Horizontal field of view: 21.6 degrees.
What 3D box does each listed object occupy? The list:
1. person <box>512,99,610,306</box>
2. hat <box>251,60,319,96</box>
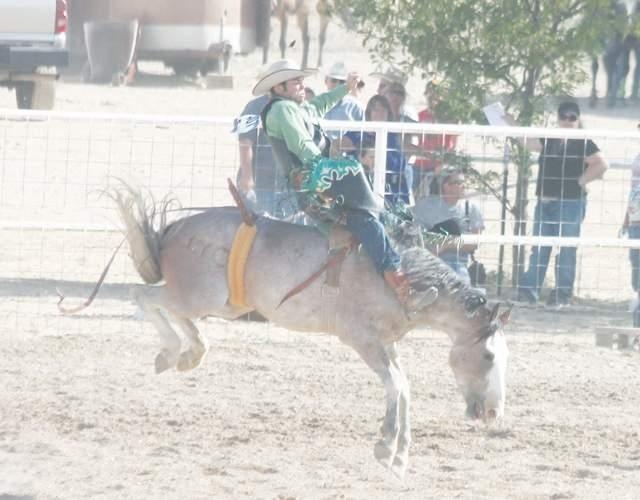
[{"bbox_3d":[3.684,-0.757,26.127,1.382,3.179,0.879,5,-21,6],"label":"person"},{"bbox_3d":[-0.538,-2.339,22.588,0.573,0.238,0.534,-26,0,0],"label":"hat"}]
